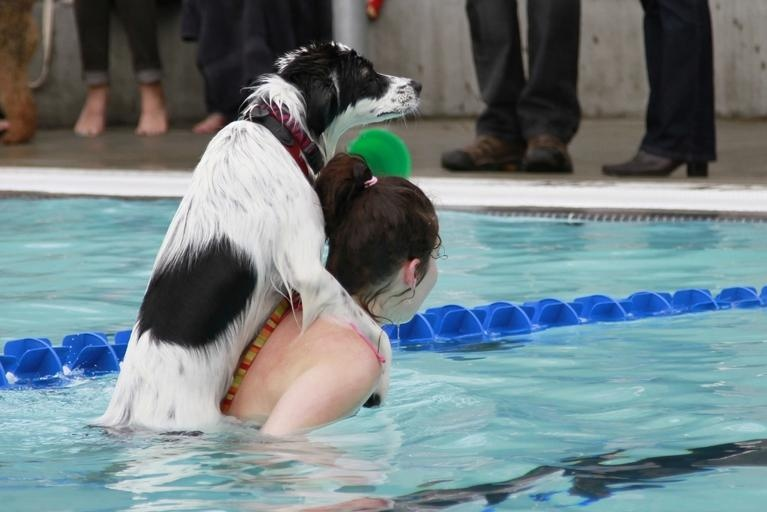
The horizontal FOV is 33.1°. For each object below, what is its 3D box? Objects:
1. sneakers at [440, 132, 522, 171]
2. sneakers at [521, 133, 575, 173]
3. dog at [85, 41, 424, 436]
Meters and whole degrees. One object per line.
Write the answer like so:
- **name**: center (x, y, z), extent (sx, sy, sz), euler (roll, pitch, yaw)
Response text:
- **sneakers**: center (0.643, -0.628, 8.159), extent (0.583, 0.223, 0.192), euler (-1, 10, -7)
- **sneakers**: center (1.015, -0.609, 7.873), extent (0.303, 0.235, 0.195), euler (0, 12, 0)
- **dog**: center (-0.547, -0.098, 5.060), extent (1.158, 1.410, 0.636), euler (-2, 12, -10)
